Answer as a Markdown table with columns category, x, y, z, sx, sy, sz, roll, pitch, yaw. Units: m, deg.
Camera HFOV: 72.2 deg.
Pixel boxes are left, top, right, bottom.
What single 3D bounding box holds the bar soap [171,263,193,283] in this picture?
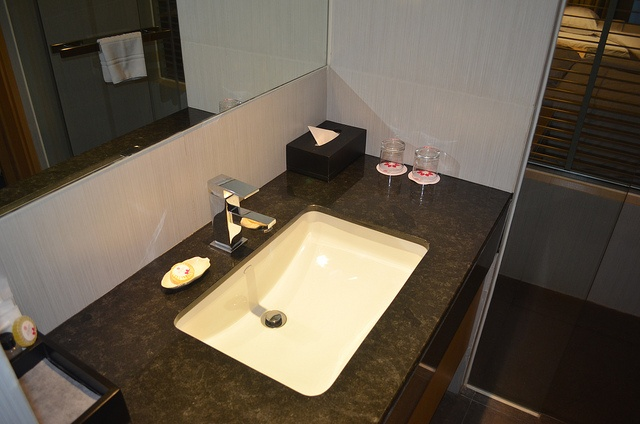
| category | x | y | z | sx | sy | sz | roll | pitch | yaw |
| --- | --- | --- | --- | --- | --- | --- | --- | --- | --- |
| bar soap | -0.447 | 0.199 | 1.429 | 0.074 | 0.022 | 0.075 | -11 | 39 | -17 |

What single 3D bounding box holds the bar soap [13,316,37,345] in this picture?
| category | x | y | z | sx | sy | sz | roll | pitch | yaw |
| --- | --- | --- | --- | --- | --- | --- | --- | --- | --- |
| bar soap | -0.698 | 0.279 | 1.044 | 0.014 | 0.059 | 0.058 | -7 | 16 | 21 |

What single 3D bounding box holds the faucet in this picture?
| category | x | y | z | sx | sy | sz | roll | pitch | yaw |
| --- | --- | --- | --- | --- | --- | --- | --- | --- | --- |
| faucet | -0.269 | 0.026 | 1.502 | 0.250 | 0.250 | 0.099 | 19 | 34 | 29 |

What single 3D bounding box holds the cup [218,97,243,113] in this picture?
| category | x | y | z | sx | sy | sz | roll | pitch | yaw |
| --- | --- | --- | --- | --- | --- | --- | --- | --- | --- |
| cup | -0.334 | -0.401 | 1.607 | 0.048 | 0.045 | 0.062 | -29 | 48 | -34 |

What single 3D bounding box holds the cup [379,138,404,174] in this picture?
| category | x | y | z | sx | sy | sz | roll | pitch | yaw |
| --- | --- | --- | --- | --- | --- | --- | --- | --- | --- |
| cup | 0.323 | -0.249 | 1.950 | 0.111 | 0.107 | 0.146 | 7 | 37 | 7 |

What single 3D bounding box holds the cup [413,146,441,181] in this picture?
| category | x | y | z | sx | sy | sz | roll | pitch | yaw |
| --- | --- | --- | --- | --- | --- | --- | --- | --- | --- |
| cup | 0.462 | -0.203 | 1.898 | 0.112 | 0.108 | 0.139 | 9 | 37 | 8 |

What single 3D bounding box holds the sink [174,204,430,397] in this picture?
| category | x | y | z | sx | sy | sz | roll | pitch | yaw |
| --- | --- | --- | --- | --- | --- | --- | --- | --- | --- |
| sink | -0.041 | 0.333 | 1.527 | 0.525 | 0.165 | 0.796 | 23 | 44 | 22 |

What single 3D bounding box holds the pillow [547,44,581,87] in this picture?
| category | x | y | z | sx | sy | sz | roll | pitch | yaw |
| --- | --- | --- | --- | --- | --- | --- | --- | --- | --- |
| pillow | 0.894 | -0.539 | 1.629 | 0.028 | 0.111 | 0.118 | -16 | 48 | -34 |

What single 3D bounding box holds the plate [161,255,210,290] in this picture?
| category | x | y | z | sx | sy | sz | roll | pitch | yaw |
| --- | --- | --- | --- | --- | --- | --- | --- | --- | --- |
| plate | -0.435 | 0.194 | 1.433 | 0.079 | 0.026 | 0.125 | 19 | 36 | 29 |

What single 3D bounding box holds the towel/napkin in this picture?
| category | x | y | z | sx | sy | sz | roll | pitch | yaw |
| --- | --- | --- | --- | --- | --- | --- | --- | --- | --- |
| towel/napkin | -0.566 | -0.442 | 1.263 | 0.044 | 0.141 | 0.137 | 16 | 29 | 33 |
